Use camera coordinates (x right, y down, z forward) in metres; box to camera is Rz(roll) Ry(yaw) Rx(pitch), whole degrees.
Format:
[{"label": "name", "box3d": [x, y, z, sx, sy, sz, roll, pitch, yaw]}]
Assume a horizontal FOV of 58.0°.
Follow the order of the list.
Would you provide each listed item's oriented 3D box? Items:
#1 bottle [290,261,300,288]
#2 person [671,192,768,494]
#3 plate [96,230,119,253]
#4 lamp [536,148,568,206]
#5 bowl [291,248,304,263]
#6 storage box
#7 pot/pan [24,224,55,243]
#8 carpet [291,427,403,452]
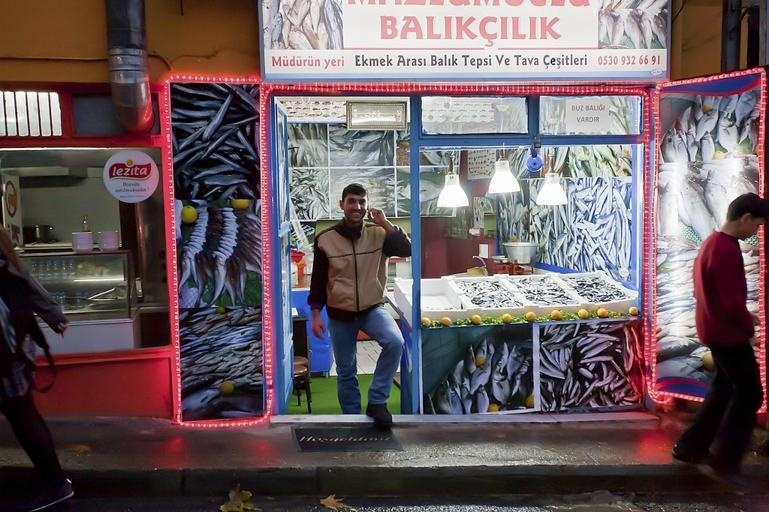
[{"label": "bottle", "box3d": [-1.388, 0.304, 10.800, 0.092, 0.371, 0.166, -2, 12, 9]}, {"label": "person", "box3d": [3.235, 0.783, 6.715, 0.780, 2.672, 0.691, 1, 12, 23]}, {"label": "plate", "box3d": [-3.111, -0.166, 7.826, 0.212, 0.220, 0.205, -10, 13, -28]}, {"label": "lamp", "box3d": [2.194, -0.920, 9.042, 0.377, 0.697, 1.458, -1, 13, 14]}, {"label": "bowl", "box3d": [-1.370, 0.011, 10.941, 0.245, 0.223, 0.191, -1, 3, -2]}, {"label": "storage box", "box3d": [1.622, 0.484, 8.100, 2.498, 0.435, 0.849, -5, 12, -4]}, {"label": "pot/pan", "box3d": [-5.042, -0.296, 10.108, 0.497, 0.332, 0.389, 1, -2, -26]}, {"label": "carpet", "box3d": [-0.382, 1.911, 7.191, 1.133, 0.076, 0.515, -3, 12, 1]}]
